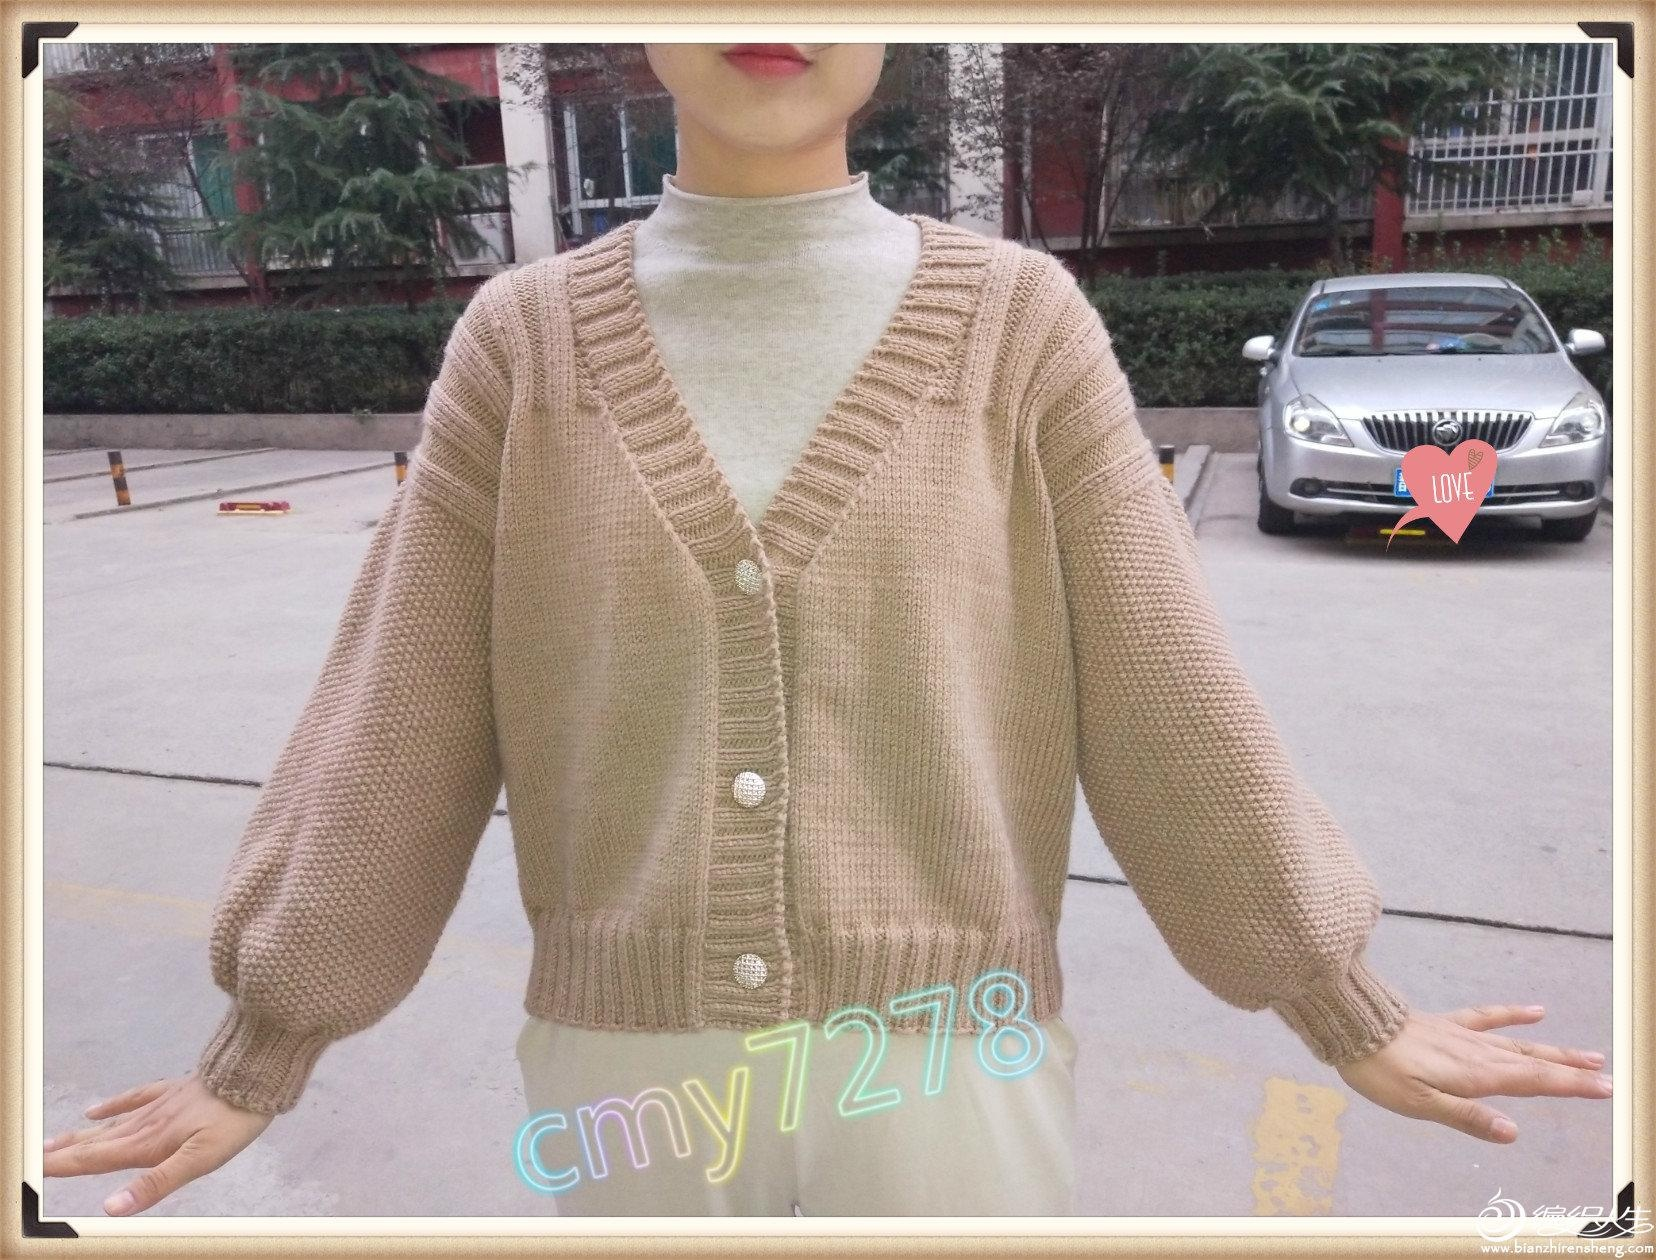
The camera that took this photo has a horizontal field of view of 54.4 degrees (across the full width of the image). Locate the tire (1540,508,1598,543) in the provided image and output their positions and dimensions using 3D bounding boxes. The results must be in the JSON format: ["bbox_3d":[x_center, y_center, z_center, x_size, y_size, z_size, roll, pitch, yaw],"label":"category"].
[{"bbox_3d":[2.130,-0.295,4.628,0.093,0.031,0.094,-7,-7,-18],"label":"tire"}]

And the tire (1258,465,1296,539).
[{"bbox_3d":[1.500,-0.433,5.375,0.089,0.252,0.243,0,-1,4],"label":"tire"}]

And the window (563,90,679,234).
[{"bbox_3d":[-0.425,-0.943,3.288,0.336,0.303,0.032,-21,30,-36],"label":"window"}]

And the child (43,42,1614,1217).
[{"bbox_3d":[0.100,-0.039,2.887,2.318,3.524,0.588,0,-6,-2],"label":"child"}]

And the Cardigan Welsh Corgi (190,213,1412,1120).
[{"bbox_3d":[-0.064,0.056,2.074,1.501,0.884,0.636,-4,35,4],"label":"Cardigan Welsh Corgi"}]
